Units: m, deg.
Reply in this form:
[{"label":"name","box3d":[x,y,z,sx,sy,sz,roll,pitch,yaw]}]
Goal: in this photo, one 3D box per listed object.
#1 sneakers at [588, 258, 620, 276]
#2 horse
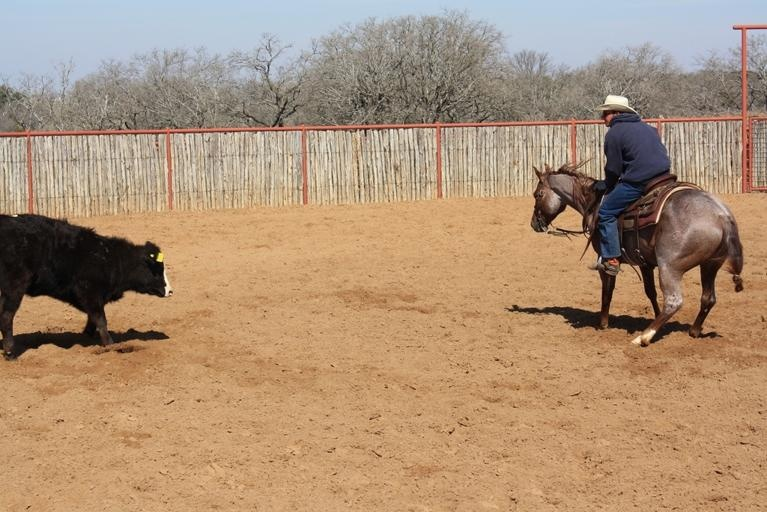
[{"label":"sneakers","box3d":[3.238,0.141,12.554,0.205,0.196,0.509,-9,14,-43]},{"label":"horse","box3d":[4.344,-0.213,13.077,3.055,2.325,3.392,-9,16,-27]}]
